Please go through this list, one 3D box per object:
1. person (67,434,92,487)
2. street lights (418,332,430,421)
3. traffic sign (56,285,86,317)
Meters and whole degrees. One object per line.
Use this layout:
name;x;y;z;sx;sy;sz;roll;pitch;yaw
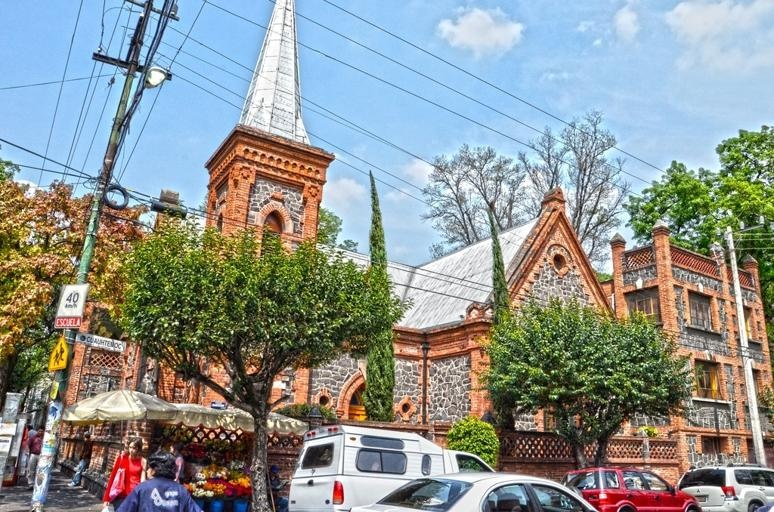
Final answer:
person;-15.980;10.629;31.982;0.922;0.983;2.873;26;2;-14
street lights;2.192;7.404;35.762;0.847;4.828;0.846;-3;-14;18
traffic sign;-10.080;1.404;19.648;0.885;1.052;0.336;2;-23;-2
